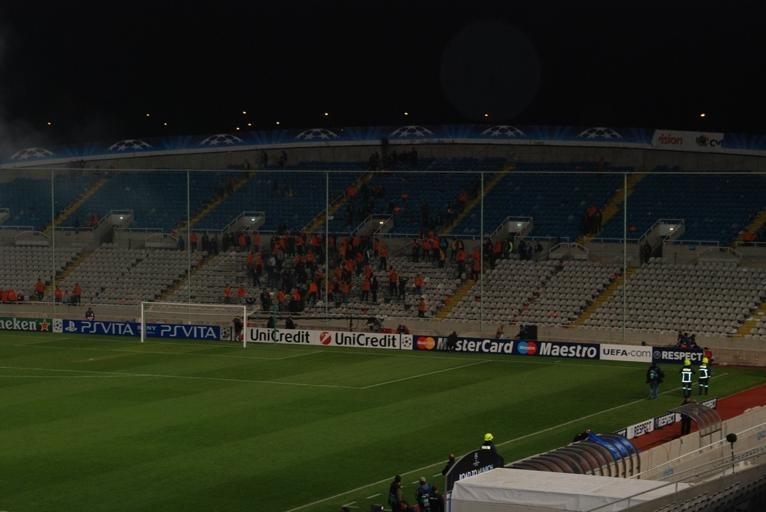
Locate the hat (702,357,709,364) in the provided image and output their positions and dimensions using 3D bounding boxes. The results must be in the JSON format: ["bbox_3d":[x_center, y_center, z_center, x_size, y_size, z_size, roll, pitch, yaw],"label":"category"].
[{"bbox_3d":[16.526,5.444,66.304,0.348,0.275,0.334,6,9,29],"label":"hat"}]
